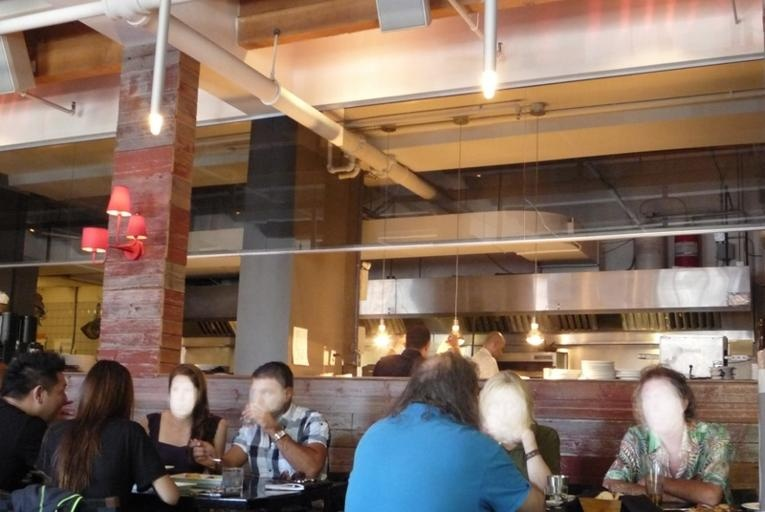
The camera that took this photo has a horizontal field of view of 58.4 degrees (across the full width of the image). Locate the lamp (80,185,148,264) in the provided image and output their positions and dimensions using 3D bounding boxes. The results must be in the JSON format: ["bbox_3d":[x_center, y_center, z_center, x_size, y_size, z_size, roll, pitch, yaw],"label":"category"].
[{"bbox_3d":[-2.116,-0.264,5.460,0.672,0.593,0.329,-8,-18,24],"label":"lamp"}]

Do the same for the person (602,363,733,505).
[{"bbox_3d":[1.588,1.017,3.797,0.563,0.728,0.631,32,-36,-27],"label":"person"}]

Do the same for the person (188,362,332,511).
[{"bbox_3d":[-0.690,1.259,4.147,0.785,1.122,0.623,-2,-1,20],"label":"person"}]

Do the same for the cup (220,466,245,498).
[{"bbox_3d":[-0.754,1.187,3.581,0.128,0.131,0.131,1,-24,1],"label":"cup"}]

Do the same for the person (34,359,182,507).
[{"bbox_3d":[-1.440,0.950,3.591,0.723,0.858,0.528,4,12,1],"label":"person"}]

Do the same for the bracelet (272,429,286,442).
[{"bbox_3d":[-0.601,1.039,3.938,0.058,0.057,0.016,25,-40,32],"label":"bracelet"}]

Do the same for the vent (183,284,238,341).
[{"bbox_3d":[-2.473,0.819,10.190,1.075,0.863,0.363,-1,18,12],"label":"vent"}]

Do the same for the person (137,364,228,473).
[{"bbox_3d":[-1.256,1.049,4.319,0.684,0.825,0.515,-3,-21,-12],"label":"person"}]
